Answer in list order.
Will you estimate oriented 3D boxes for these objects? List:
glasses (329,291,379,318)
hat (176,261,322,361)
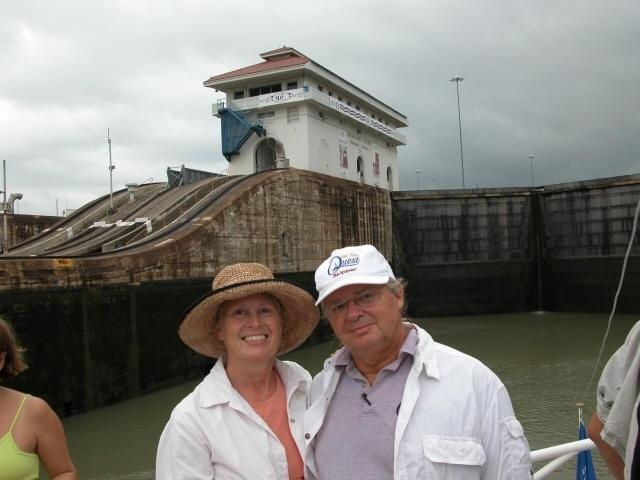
[{"bbox_3d":[0.271,0.499,5.600,0.219,0.063,0.235,-33,-13,14],"label":"glasses"},{"bbox_3d":[-0.519,0.637,5.991,0.888,0.473,0.938,-20,-42,9],"label":"hat"}]
